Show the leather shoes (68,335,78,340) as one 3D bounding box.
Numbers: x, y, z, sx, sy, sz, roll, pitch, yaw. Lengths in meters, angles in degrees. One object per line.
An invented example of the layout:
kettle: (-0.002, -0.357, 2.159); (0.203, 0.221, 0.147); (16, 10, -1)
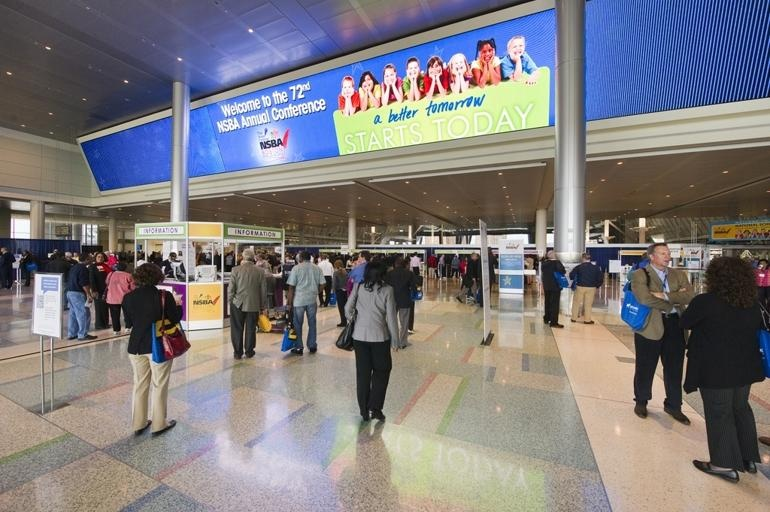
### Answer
leather shoes: (-7.832, 2.002, 12.009); (0.206, 0.119, 0.186); (-3, 2, -34)

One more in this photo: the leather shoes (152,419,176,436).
leather shoes: (-3.968, 3.087, 8.662); (0.136, 0.157, 0.406); (7, 17, 30)

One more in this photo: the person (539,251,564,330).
person: (4.766, 0.871, 13.538); (0.589, 2.093, 1.079); (-2, 1, 18)

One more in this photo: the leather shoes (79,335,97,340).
leather shoes: (-7.462, 2.019, 12.049); (0.366, 0.156, 0.134); (-2, 5, -28)

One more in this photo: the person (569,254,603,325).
person: (5.812, 0.879, 13.942); (0.807, 1.987, 1.608); (-2, 2, 22)

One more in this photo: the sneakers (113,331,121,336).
sneakers: (-6.932, 1.969, 12.364); (0.100, 0.098, 0.235); (3, 6, 10)

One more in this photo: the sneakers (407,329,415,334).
sneakers: (0.696, 1.962, 12.683); (0.159, 0.088, 0.243); (-2, 2, 3)

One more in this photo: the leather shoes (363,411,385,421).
leather shoes: (-0.204, 2.900, 8.765); (0.464, 0.199, 0.166); (1, -6, -7)

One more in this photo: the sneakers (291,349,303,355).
sneakers: (-2.034, 2.190, 11.113); (0.319, 0.125, 0.117); (2, 2, 23)

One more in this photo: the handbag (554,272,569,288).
handbag: (4.780, 0.630, 13.067); (0.143, 0.426, 0.439); (-32, -14, 37)

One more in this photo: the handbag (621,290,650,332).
handbag: (4.626, 1.001, 8.862); (0.468, 0.758, 0.221); (-1, 1, 33)

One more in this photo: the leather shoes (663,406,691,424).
leather shoes: (5.396, 2.920, 8.854); (0.185, 0.153, 0.383); (-4, 2, -28)

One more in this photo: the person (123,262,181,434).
person: (-4.214, 1.636, 8.656); (0.938, 3.073, 0.417); (-2, 1, -1)

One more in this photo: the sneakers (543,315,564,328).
sneakers: (4.714, 1.849, 13.437); (0.187, 0.237, 0.556); (4, -2, -26)
